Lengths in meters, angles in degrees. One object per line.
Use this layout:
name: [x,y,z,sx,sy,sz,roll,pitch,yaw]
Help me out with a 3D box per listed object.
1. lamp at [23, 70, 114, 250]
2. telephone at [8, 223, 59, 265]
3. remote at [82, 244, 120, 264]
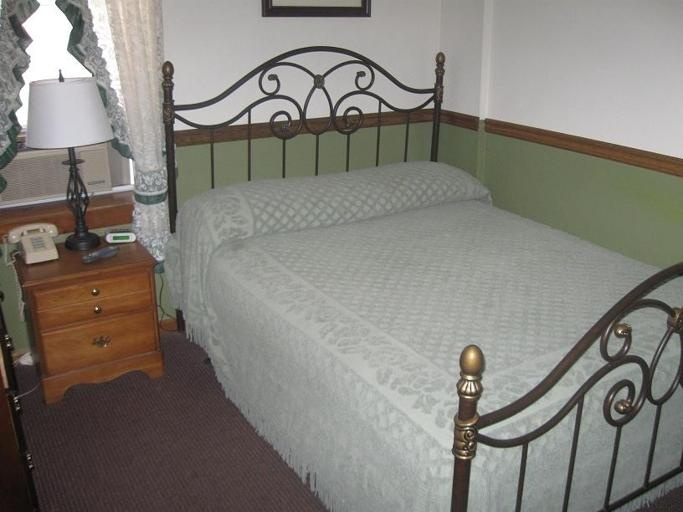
lamp: [-1.257,-0.411,2.378,0.369,0.794,0.364,1,25,-10]
telephone: [-1.426,-0.071,2.384,0.219,0.113,0.202,-16,43,-36]
remote: [-1.136,-0.009,2.401,0.118,0.029,0.075,-24,34,-34]
